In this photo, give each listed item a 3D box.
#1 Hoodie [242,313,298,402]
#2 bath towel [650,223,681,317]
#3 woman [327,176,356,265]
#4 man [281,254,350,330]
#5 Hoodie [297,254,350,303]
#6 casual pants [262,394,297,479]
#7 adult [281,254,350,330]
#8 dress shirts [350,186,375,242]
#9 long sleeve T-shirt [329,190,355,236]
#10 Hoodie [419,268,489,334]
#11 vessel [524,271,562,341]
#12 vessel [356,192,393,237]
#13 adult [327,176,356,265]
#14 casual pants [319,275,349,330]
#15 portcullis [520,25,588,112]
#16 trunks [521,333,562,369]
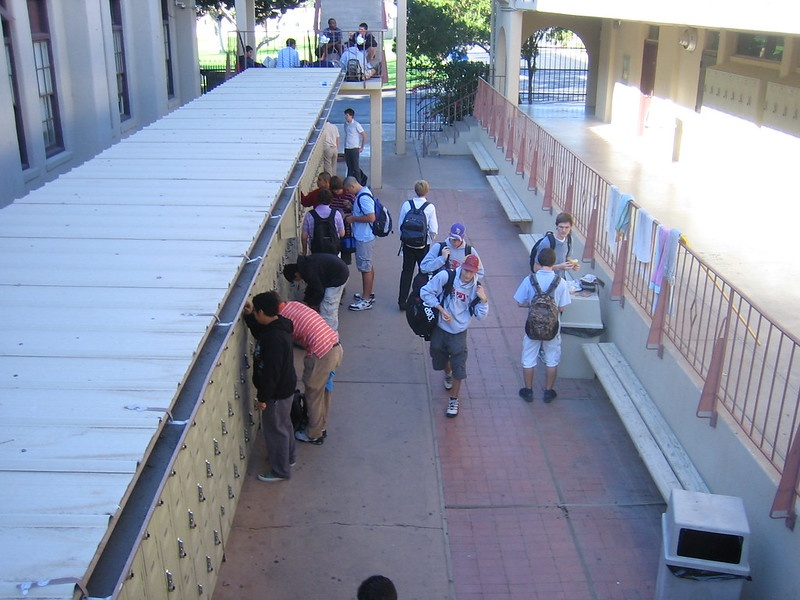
[{"bbox_3d":[-1.303,0.569,6.622,0.483,0.823,0.522,8,28,10],"label":"Hoodie"},{"bbox_3d":[3.024,-0.318,7.712,0.220,1.115,0.554,6,23,11],"label":"bath towel"},{"bbox_3d":[-0.819,-1.262,10.781,0.469,1.481,0.418,18,29,30],"label":"woman"},{"bbox_3d":[-1.103,-0.016,9.258,0.866,1.427,0.621,-12,33,-15],"label":"man"},{"bbox_3d":[-1.049,-0.335,9.064,0.641,0.695,0.595,-6,61,-11],"label":"Hoodie"},{"bbox_3d":[-1.269,1.441,7.142,0.239,0.411,0.918,-4,72,7],"label":"casual pants"},{"bbox_3d":[-1.115,-0.025,9.272,0.866,1.383,0.605,-13,35,-18],"label":"adult"},{"bbox_3d":[-0.584,-1.306,10.411,0.309,0.667,0.561,0,35,-2],"label":"dress shirts"},{"bbox_3d":[-0.897,-1.303,10.261,0.512,0.704,0.352,11,37,9],"label":"long sleeve T-shirt"},{"bbox_3d":[0.638,0.092,8.061,0.753,0.465,0.821,19,72,-7],"label":"Hoodie"},{"bbox_3d":[1.783,0.117,8.336,0.416,0.801,0.364,6,23,11],"label":"vessel"},{"bbox_3d":[-0.412,-1.317,10.514,0.529,0.810,0.494,3,22,3],"label":"vessel"},{"bbox_3d":[-1.004,-1.379,10.910,0.529,1.642,0.503,1,42,-14],"label":"adult"},{"bbox_3d":[-0.925,0.046,9.348,0.196,0.757,0.265,7,58,-14],"label":"casual pants"},{"bbox_3d":[7.486,-10.963,32.061,3.189,3.993,0.080,10,47,24],"label":"portcullis"},{"bbox_3d":[1.812,0.638,8.553,0.425,0.611,0.243,0,45,6],"label":"trunks"}]
